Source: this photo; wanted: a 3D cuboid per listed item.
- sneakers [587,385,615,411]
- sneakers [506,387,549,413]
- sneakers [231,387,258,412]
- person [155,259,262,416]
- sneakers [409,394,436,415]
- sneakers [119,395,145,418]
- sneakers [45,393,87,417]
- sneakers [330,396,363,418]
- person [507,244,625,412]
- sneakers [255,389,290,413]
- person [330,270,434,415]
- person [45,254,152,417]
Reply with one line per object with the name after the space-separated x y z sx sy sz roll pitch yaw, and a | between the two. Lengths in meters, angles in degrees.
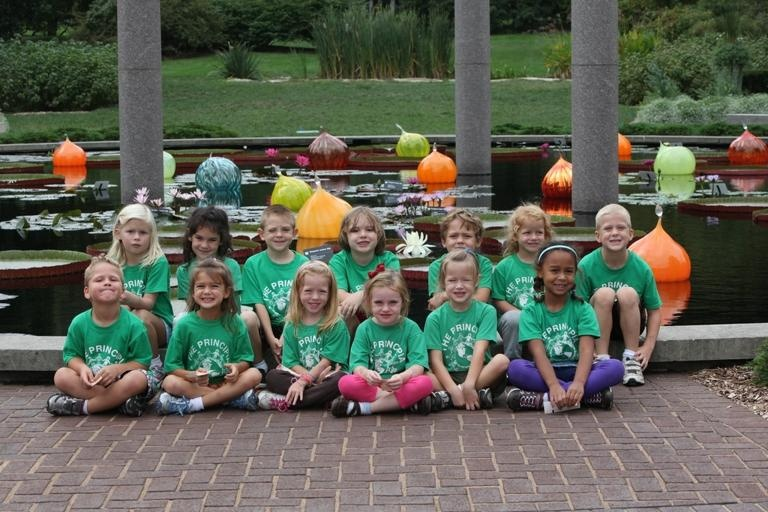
1.787 1.236 8.500 0.338 0.190 0.109 -2 6 7 | sneakers
1.208 1.244 8.493 0.442 0.125 0.186 1 3 -28 | sneakers
-1.206 1.251 8.612 0.253 0.168 0.124 -4 12 -8 | sneakers
-1.481 0.721 8.601 0.979 1.169 1.077 7 15 25 | person
0.320 1.275 8.496 0.208 0.153 0.078 -2 13 0 | sneakers
-2.137 1.281 8.491 0.216 0.176 0.138 -6 12 -15 | sneakers
-2.680 1.276 8.447 0.298 0.100 0.168 4 6 -2 | sneakers
-0.320 1.292 8.424 0.335 0.098 0.139 -5 -5 -17 | sneakers
1.547 0.605 8.607 0.980 1.382 0.693 -2 13 5 | person
-0.963 1.255 8.645 0.287 0.148 0.186 -1 11 4 | sneakers
0.013 0.743 8.582 0.832 1.166 0.615 -2 13 2 | person
-2.447 0.692 8.509 0.858 1.311 0.529 -5 13 -9 | person
